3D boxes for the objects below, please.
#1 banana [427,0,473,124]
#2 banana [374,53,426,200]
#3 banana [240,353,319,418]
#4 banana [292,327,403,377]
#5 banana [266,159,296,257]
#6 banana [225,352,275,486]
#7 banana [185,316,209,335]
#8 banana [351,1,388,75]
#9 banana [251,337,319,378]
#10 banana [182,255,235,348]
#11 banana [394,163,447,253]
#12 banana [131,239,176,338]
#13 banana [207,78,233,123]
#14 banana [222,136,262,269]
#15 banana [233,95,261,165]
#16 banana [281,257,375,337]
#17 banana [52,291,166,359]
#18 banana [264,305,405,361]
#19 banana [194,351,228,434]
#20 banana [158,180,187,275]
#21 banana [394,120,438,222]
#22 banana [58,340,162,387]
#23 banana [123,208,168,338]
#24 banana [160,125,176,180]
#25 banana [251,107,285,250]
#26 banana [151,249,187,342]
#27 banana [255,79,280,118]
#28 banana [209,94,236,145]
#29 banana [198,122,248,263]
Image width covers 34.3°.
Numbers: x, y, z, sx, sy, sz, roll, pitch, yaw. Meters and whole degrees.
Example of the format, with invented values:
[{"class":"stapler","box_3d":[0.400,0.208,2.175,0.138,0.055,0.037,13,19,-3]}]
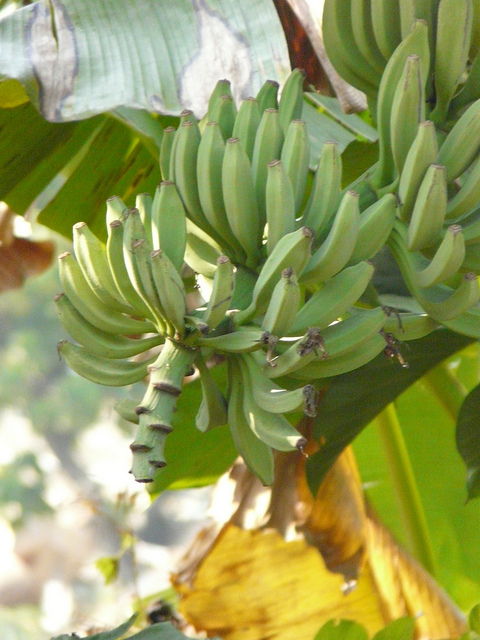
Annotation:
[{"class":"banana","box_3d":[0.371,-0.457,1.445,0.072,0.049,0.244,-10,-50,-19]},{"class":"banana","box_3d":[0.273,-0.316,1.342,0.076,0.255,0.057,8,7,28]},{"class":"banana","box_3d":[0.055,0.108,1.225,0.156,0.028,0.051,15,-58,-44]},{"class":"banana","box_3d":[0.151,0.076,1.327,0.233,0.072,0.055,-11,-12,31]},{"class":"banana","box_3d":[0.067,-0.171,1.263,0.052,0.164,0.044,-2,10,-12]},{"class":"banana","box_3d":[0.006,0.178,1.361,0.069,0.251,0.062,-15,-2,18]},{"class":"banana","box_3d":[-0.064,0.009,1.210,0.020,0.014,0.065,-7,13,-14]},{"class":"banana","box_3d":[0.256,-0.528,1.538,0.052,0.174,0.040,-10,13,6]},{"class":"banana","box_3d":[0.070,0.061,1.228,0.024,0.046,0.126,11,-27,-18]},{"class":"banana","box_3d":[-0.036,-0.033,1.244,0.068,0.169,0.042,10,26,-31]},{"class":"banana","box_3d":[0.300,-0.182,1.283,0.062,0.069,0.173,-44,-29,-18]},{"class":"banana","box_3d":[-0.118,-0.045,1.243,0.033,0.171,0.038,-25,33,-8]},{"class":"banana","box_3d":[-0.044,-0.407,1.462,0.037,0.094,0.037,17,4,-10]},{"class":"banana","box_3d":[0.002,-0.196,1.305,0.052,0.199,0.073,-10,-2,-38]},{"class":"banana","box_3d":[0.016,-0.335,1.398,0.046,0.117,0.042,11,12,2]},{"class":"banana","box_3d":[0.140,-0.035,1.253,0.176,0.059,0.046,-39,-47,15]},{"class":"banana","box_3d":[-0.224,0.029,1.299,0.045,0.073,0.223,-4,-17,41]},{"class":"banana","box_3d":[0.145,0.034,1.269,0.242,0.077,0.053,-14,14,7]},{"class":"banana","box_3d":[-0.052,0.130,1.357,0.057,0.118,0.189,-5,-16,-3]},{"class":"banana","box_3d":[-0.113,-0.148,1.270,0.053,0.145,0.046,-1,-5,-15]},{"class":"banana","box_3d":[0.285,-0.270,1.275,0.042,0.114,0.037,32,28,19]},{"class":"banana","box_3d":[-0.211,0.072,1.314,0.049,0.090,0.245,14,9,36]},{"class":"banana","box_3d":[-0.134,-0.073,1.268,0.074,0.210,0.047,-7,10,11]},{"class":"banana","box_3d":[-0.142,-0.315,1.497,0.037,0.103,0.031,0,8,-24]},{"class":"banana","box_3d":[0.050,-0.248,1.370,0.065,0.234,0.050,1,4,-12]},{"class":"banana","box_3d":[-0.094,-0.036,1.207,0.053,0.137,0.036,-7,23,13]},{"class":"banana","box_3d":[0.054,-0.419,1.473,0.032,0.028,0.086,-44,-11,-42]},{"class":"banana","box_3d":[-0.030,-0.362,1.438,0.037,0.097,0.038,1,9,19]},{"class":"banana","box_3d":[-0.040,-0.214,1.385,0.102,0.242,0.067,-10,0,8]}]
